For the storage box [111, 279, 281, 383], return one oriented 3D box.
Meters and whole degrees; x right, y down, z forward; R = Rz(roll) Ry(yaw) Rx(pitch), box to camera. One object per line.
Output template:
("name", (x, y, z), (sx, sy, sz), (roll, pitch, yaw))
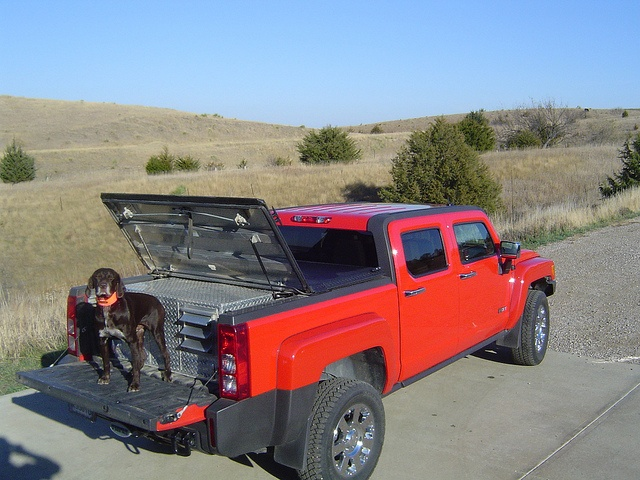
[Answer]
("storage box", (-1.238, 0.884, 4.402), (1.250, 0.660, 0.861), (3, -6, 27))
